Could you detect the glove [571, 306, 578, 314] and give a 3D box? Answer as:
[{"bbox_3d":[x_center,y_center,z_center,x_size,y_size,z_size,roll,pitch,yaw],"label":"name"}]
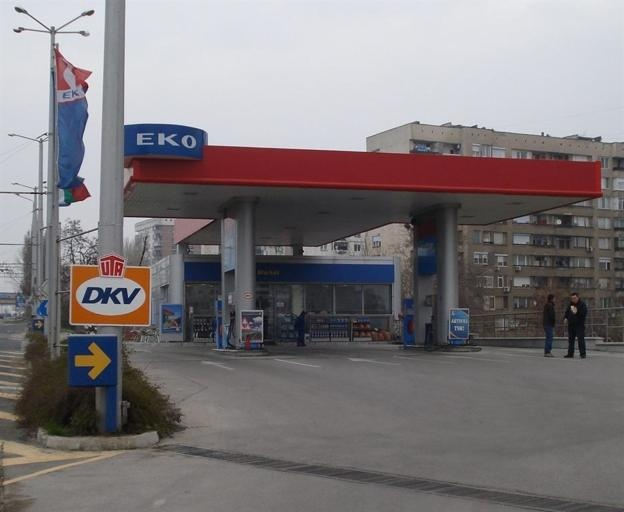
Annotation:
[{"bbox_3d":[6.997,1.449,26.479,0.132,0.171,0.177,0,3,5],"label":"glove"}]
